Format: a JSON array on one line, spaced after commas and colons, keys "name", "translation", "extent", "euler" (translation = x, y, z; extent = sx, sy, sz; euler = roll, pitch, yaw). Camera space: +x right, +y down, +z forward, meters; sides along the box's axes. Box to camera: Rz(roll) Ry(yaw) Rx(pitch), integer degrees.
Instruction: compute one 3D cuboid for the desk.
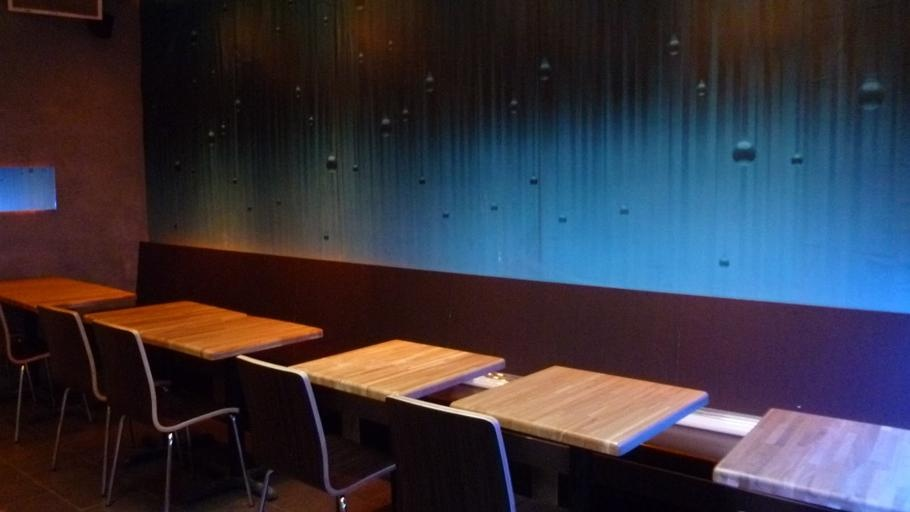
[{"name": "desk", "translation": [-0.525, 0.877, 4.256], "extent": [6.166, 1.256, 1.319], "euler": [2, 8, 27]}]
